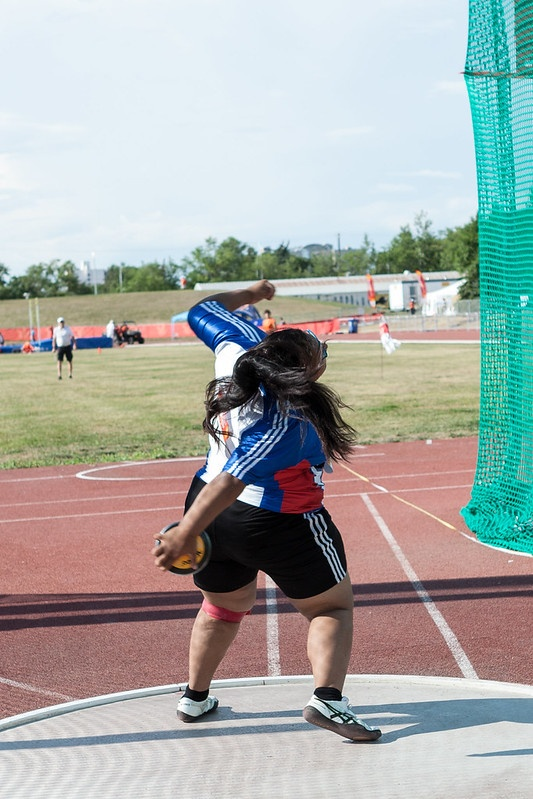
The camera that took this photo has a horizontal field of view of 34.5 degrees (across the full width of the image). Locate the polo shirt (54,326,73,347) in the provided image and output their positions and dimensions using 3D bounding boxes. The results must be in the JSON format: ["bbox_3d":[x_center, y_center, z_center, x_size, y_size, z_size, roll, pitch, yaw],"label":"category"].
[{"bbox_3d":[-5.220,-1.582,21.945,0.662,0.576,0.351,-1,-6,-21],"label":"polo shirt"}]

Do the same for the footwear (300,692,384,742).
[{"bbox_3d":[0.261,1.089,2.915,0.288,0.216,0.074,-6,4,-42],"label":"footwear"}]

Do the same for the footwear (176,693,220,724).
[{"bbox_3d":[-0.272,1.190,3.317,0.071,0.074,0.195,11,5,30],"label":"footwear"}]

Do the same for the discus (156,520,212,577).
[{"bbox_3d":[-0.239,0.490,2.830,0.190,0.174,0.051,21,41,36],"label":"discus"}]

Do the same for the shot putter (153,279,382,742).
[{"bbox_3d":[-0.043,0.353,3.003,0.684,1.358,0.815,0,0,-14],"label":"shot putter"}]
